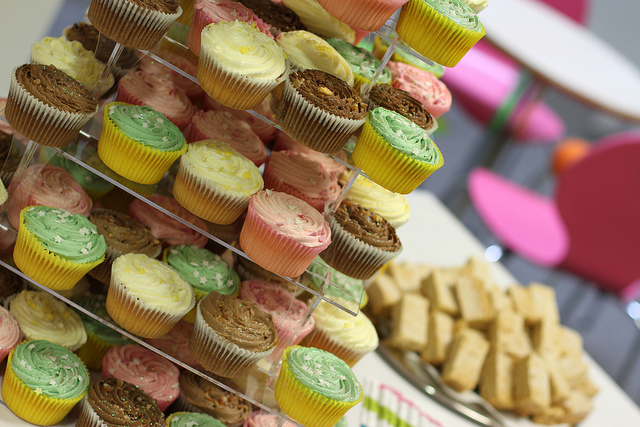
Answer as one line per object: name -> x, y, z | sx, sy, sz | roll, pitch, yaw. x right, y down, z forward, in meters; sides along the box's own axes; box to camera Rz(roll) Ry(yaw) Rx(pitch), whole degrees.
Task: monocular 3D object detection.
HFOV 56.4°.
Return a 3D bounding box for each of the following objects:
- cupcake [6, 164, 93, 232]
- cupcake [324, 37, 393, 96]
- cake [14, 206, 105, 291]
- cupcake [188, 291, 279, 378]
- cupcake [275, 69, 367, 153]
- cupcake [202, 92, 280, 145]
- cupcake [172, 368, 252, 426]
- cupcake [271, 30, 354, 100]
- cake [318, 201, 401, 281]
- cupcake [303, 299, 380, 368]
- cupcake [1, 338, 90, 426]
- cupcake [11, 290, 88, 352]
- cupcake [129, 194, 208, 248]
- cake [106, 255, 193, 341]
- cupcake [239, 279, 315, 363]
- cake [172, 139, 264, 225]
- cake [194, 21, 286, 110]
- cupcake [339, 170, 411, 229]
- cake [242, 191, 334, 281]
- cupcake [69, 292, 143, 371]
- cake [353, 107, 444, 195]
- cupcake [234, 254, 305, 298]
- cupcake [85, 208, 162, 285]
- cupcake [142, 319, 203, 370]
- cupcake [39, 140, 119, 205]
cupcake -> -1.290, -0.101, 2.827 | 0.309, 0.203, 0.320 | 23, 13, -45
cupcake -> 0.222, -0.734, 3.019 | 0.290, 0.179, 0.359 | 34, 9, -32
cake -> -1.149, 0.091, 2.728 | 0.351, 0.250, 0.360 | 29, 11, -11
cupcake -> -0.405, 0.541, 2.720 | 0.383, 0.297, 0.394 | 32, 15, -9
cupcake -> 0.001, -0.477, 2.735 | 0.414, 0.283, 0.429 | 19, 25, -14
cupcake -> -0.402, -0.452, 3.031 | 0.300, 0.193, 0.260 | 14, 25, -30
cupcake -> -0.515, 0.879, 2.852 | 0.309, 0.194, 0.269 | 23, 17, -19
cupcake -> -0.063, -0.765, 2.883 | 0.308, 0.226, 0.372 | 32, 10, -29
cake -> 0.156, 0.102, 2.842 | 0.348, 0.260, 0.343 | 38, -4, -26
cupcake -> 0.090, 0.596, 3.286 | 0.343, 0.334, 0.371 | 27, 1, -15
cupcake -> -1.236, 0.749, 2.621 | 0.371, 0.265, 0.255 | 45, 15, 28
cupcake -> -1.268, 0.498, 2.779 | 0.299, 0.182, 0.266 | 35, -5, 42
cupcake -> -0.761, 0.043, 2.957 | 0.271, 0.213, 0.308 | 34, -1, -19
cake -> -0.773, 0.309, 2.734 | 0.354, 0.277, 0.366 | 36, 2, -19
cupcake -> -0.235, 0.559, 3.023 | 0.347, 0.278, 0.370 | 38, 3, 34
cake -> -0.489, -0.190, 2.796 | 0.360, 0.271, 0.378 | 34, 7, -20
cake -> -0.348, -0.734, 2.680 | 0.341, 0.268, 0.390 | 27, 26, -13
cupcake -> 0.288, -0.061, 3.108 | 0.273, 0.167, 0.337 | 31, 9, -17
cake -> -0.163, 0.064, 2.772 | 0.427, 0.321, 0.425 | 8, 30, -37
cupcake -> -1.074, 0.578, 2.954 | 0.365, 0.271, 0.365 | 24, 9, -35
cake -> 0.335, -0.205, 2.733 | 0.256, 0.199, 0.266 | 25, -2, -20
cupcake -> -0.269, 0.320, 3.011 | 0.258, 0.103, 0.239 | 29, -1, 29
cupcake -> -0.935, 0.180, 2.894 | 0.332, 0.244, 0.340 | 35, 7, 11
cupcake -> -0.698, 0.626, 2.917 | 0.283, 0.099, 0.246 | 27, 21, -12
cupcake -> -1.153, -0.208, 2.853 | 0.324, 0.229, 0.310 | 26, 7, -29
